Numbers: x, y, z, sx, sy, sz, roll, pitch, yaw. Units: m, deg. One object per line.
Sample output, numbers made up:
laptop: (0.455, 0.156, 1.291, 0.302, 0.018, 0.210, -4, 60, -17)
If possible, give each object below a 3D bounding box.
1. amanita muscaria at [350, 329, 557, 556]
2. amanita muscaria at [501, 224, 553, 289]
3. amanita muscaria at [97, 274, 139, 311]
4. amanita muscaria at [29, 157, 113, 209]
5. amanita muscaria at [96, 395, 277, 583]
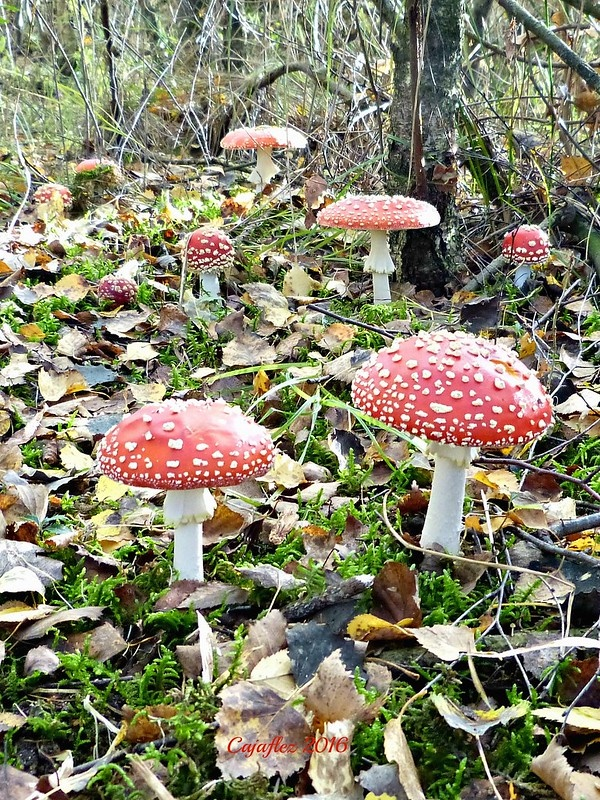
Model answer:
amanita muscaria: (0.560, 0.215, 3.301, 0.782, 0.943, 0.476, 8, 18, 13)
amanita muscaria: (1.574, -0.990, 5.822, 0.310, 0.454, 0.471, 8, 17, 11)
amanita muscaria: (-1.343, -0.800, 6.109, 0.291, 0.183, 0.265, 0, 8, 1)
amanita muscaria: (-2.238, -2.197, 8.419, 0.913, 0.336, 0.541, -24, 37, -25)
amanita muscaria: (-0.436, 0.408, 3.205, 0.628, 0.792, 0.431, -3, 19, -22)
